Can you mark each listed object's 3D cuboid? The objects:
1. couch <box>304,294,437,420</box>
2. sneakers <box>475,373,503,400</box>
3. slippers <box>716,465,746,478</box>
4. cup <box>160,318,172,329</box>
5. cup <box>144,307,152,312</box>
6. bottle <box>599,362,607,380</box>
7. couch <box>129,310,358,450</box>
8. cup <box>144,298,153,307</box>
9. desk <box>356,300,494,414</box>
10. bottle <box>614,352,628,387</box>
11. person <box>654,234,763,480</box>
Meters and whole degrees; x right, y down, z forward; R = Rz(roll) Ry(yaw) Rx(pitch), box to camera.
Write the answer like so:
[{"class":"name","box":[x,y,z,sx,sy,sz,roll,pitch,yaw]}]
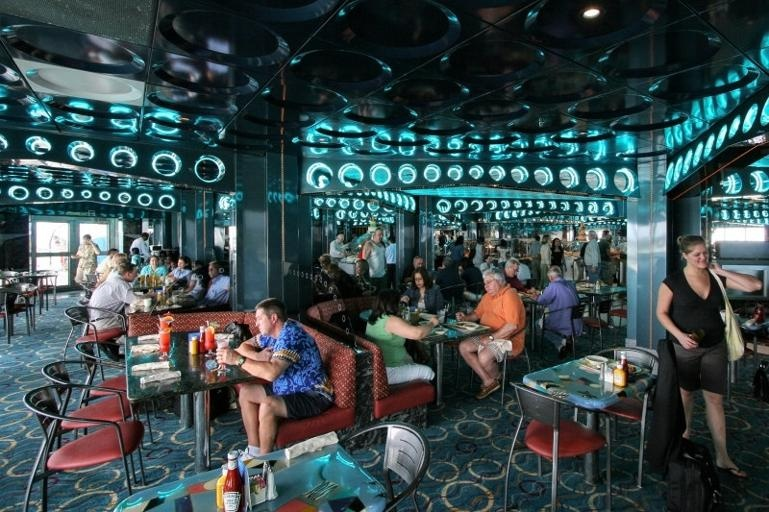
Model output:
[{"class":"couch","box":[-0.461,1.279,7.246,1.493,0.782,2.751,5,9,-18]},{"class":"sneakers","box":[1.389,1.755,7.226,0.474,0.170,0.159,-26,-13,-17]},{"class":"slippers","box":[3.562,2.220,5.543,0.216,0.039,0.098,-4,-5,37]},{"class":"cup","box":[-2.518,0.779,6.161,0.136,0.106,0.117,1,-6,-6]},{"class":"cup","box":[-3.385,0.771,7.707,0.099,0.056,0.091,0,-5,0]},{"class":"bottle","box":[2.186,1.153,5.415,0.073,0.154,0.214,-3,1,20]},{"class":"couch","box":[-1.312,1.369,5.753,1.670,0.714,2.313,4,0,-36]},{"class":"cup","box":[-3.398,0.678,7.804,0.139,0.099,0.121,0,-6,7]},{"class":"desk","box":[0.603,1.321,7.255,1.690,0.942,1.475,0,-3,-15]},{"class":"bottle","box":[2.307,1.112,5.293,0.119,0.313,0.240,-3,1,27]},{"class":"person","box":[3.358,1.016,5.640,0.840,2.483,0.647,-3,2,29]}]
